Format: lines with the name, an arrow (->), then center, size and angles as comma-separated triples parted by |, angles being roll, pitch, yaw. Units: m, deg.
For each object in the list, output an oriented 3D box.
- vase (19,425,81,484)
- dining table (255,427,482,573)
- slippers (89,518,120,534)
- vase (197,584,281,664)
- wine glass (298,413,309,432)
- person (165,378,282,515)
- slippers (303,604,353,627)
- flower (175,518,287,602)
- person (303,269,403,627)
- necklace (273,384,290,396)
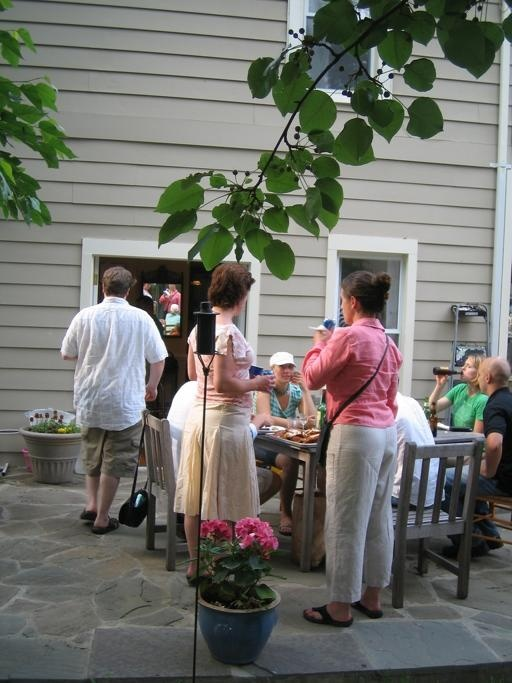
vase -> -1.518, 0.860, 5.417 | 0.487, 0.327, 0.451 | 3, 4, 15
dining table -> 0.636, 0.798, 3.838 | 0.656, 0.748, 1.122 | 2, 0, -25
slippers -> -0.923, 1.102, 4.327 | 0.078, 0.060, 0.200 | 2, 3, 12
vase -> -0.070, 1.052, 2.700 | 0.297, 0.187, 0.291 | -1, -2, 31
wine glass -> 0.310, 0.485, 4.293 | 0.077, 0.107, 0.070 | 0, -4, -13
person -> -0.239, 0.539, 4.283 | 0.709, 1.121, 0.845 | -2, 3, -10
slippers -> 0.308, 1.171, 3.099 | 0.220, 0.065, 0.081 | 4, 3, 30
flower -> -0.092, 0.867, 2.731 | 0.344, 0.316, 0.384 | 10, -31, -16
person -> 0.429, 0.385, 3.118 | 0.359, 1.011, 0.393 | 7, 4, 43
necklace -> 0.162, 0.310, 4.621 | 0.089, 0.046, 0.111 | 1, -21, -7
